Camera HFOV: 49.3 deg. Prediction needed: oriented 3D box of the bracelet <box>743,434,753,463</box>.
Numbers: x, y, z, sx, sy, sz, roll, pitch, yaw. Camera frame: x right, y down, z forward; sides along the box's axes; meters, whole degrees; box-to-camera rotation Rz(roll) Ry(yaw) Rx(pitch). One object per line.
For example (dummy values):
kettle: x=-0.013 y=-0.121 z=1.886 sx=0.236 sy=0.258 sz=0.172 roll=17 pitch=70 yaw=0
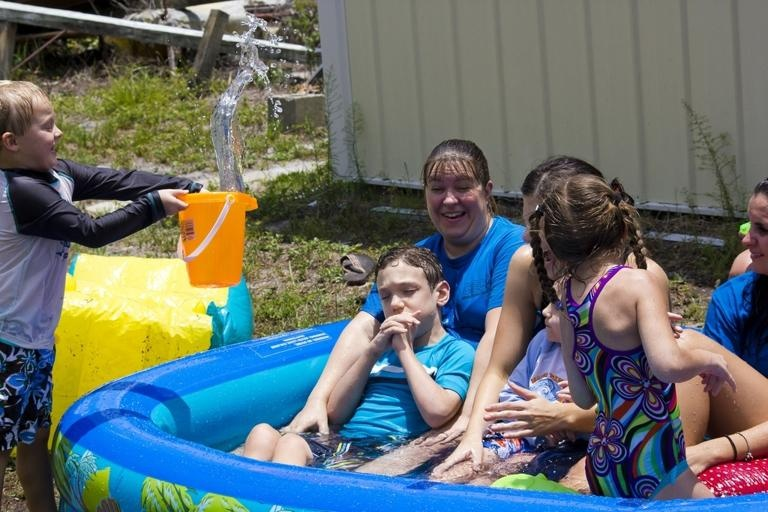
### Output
bracelet: x=1.681 y=0.900 z=3.844 sx=0.019 sy=0.084 sz=0.064 roll=-3 pitch=-7 yaw=-9

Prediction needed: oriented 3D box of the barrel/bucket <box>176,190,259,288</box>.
barrel/bucket: x=-0.871 y=-0.106 z=4.434 sx=0.390 sy=0.451 sz=0.447 roll=3 pitch=3 yaw=21

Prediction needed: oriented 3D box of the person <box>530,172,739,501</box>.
person: x=1.054 y=0.353 z=3.673 sx=0.793 sy=1.419 sz=0.363 roll=1 pitch=3 yaw=34
